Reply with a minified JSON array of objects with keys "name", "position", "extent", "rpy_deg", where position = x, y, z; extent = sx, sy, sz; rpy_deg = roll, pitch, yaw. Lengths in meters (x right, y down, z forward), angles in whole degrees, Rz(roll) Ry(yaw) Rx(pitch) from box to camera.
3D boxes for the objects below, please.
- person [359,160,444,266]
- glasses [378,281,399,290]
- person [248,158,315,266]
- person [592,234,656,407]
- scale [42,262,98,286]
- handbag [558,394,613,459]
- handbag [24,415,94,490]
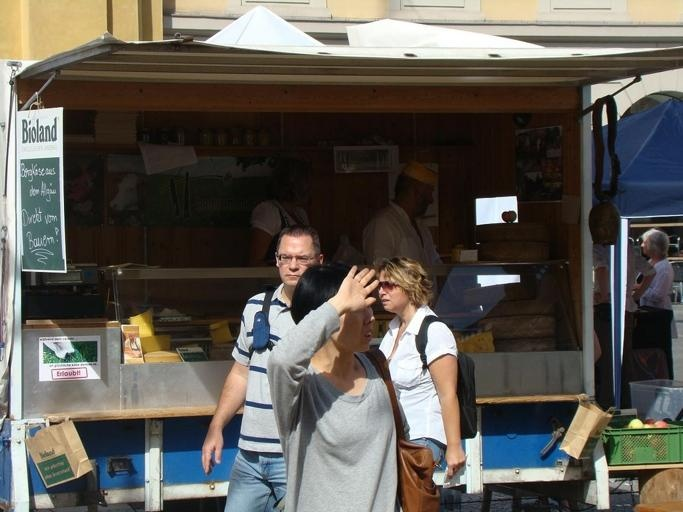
[{"name":"person","position":[0.523,-0.366,10.081],"extent":[0.503,0.866,0.914],"rpy_deg":[0,2,37]},{"name":"glasses","position":[0.316,0.195,8.196],"extent":[0.086,0.031,0.091],"rpy_deg":[-2,-16,46]},{"name":"person","position":[-0.510,-0.376,9.891],"extent":[0.433,1.194,0.768],"rpy_deg":[-4,-8,20]},{"name":"person","position":[3.058,0.598,12.813],"extent":[0.565,1.573,3.749],"rpy_deg":[-1,2,14]},{"name":"scale","position":[-1.965,0.139,8.707],"extent":[0.407,0.150,0.134],"rpy_deg":[-2,2,-16]},{"name":"handbag","position":[1.835,1.314,8.976],"extent":[0.365,0.451,0.340],"rpy_deg":[-1,2,11]},{"name":"handbag","position":[-2.015,1.395,8.463],"extent":[0.335,0.455,0.287],"rpy_deg":[-26,2,-8]}]
